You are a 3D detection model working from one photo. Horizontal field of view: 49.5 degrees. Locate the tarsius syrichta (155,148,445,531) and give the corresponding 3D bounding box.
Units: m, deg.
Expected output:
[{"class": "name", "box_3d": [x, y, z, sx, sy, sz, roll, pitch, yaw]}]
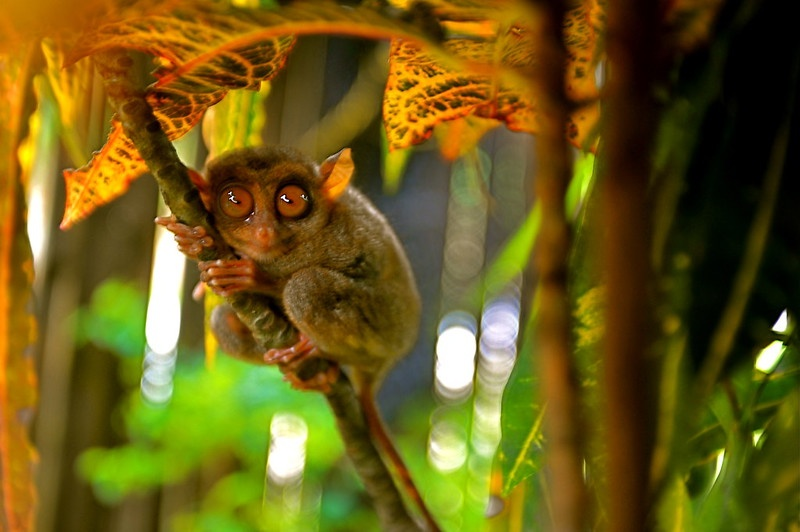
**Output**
[{"class": "tarsius syrichta", "box_3d": [-0.158, 0.210, 2.569, 0.384, 0.377, 1.267, -18, -56, 24]}]
